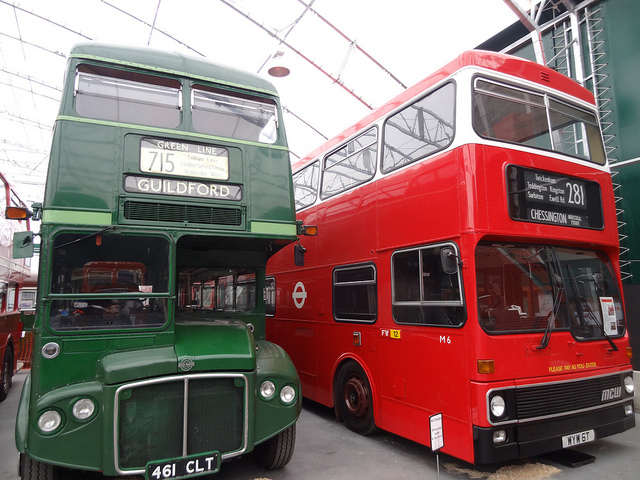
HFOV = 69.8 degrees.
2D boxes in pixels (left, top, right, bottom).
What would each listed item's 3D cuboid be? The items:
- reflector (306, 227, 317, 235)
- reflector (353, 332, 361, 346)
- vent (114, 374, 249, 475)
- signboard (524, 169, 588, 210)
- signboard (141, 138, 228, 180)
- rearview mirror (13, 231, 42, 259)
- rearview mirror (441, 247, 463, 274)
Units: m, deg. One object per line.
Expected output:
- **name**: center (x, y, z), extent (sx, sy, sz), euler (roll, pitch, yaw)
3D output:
- **reflector**: center (-0.132, -0.150, 7.133), extent (0.116, 0.032, 0.113), euler (2, -24, -10)
- **reflector**: center (0.626, 1.668, 7.754), extent (0.030, 0.196, 0.230), euler (4, -11, -17)
- **vent**: center (-1.654, 2.106, 5.260), extent (1.280, 0.886, 0.103), euler (0, -2, -22)
- **signboard**: center (3.283, -0.694, 6.366), extent (1.227, 0.473, 0.037), euler (1, -4, -26)
- **signboard**: center (-1.772, -1.092, 6.084), extent (1.249, 0.523, 0.023), euler (1, 1, -35)
- **rearview mirror**: center (-3.503, 0.065, 5.491), extent (0.301, 0.301, 0.105), euler (4, -14, -23)
- **rearview mirror**: center (1.699, 0.257, 5.886), extent (0.283, 0.374, 0.202), euler (-6, -5, -17)
